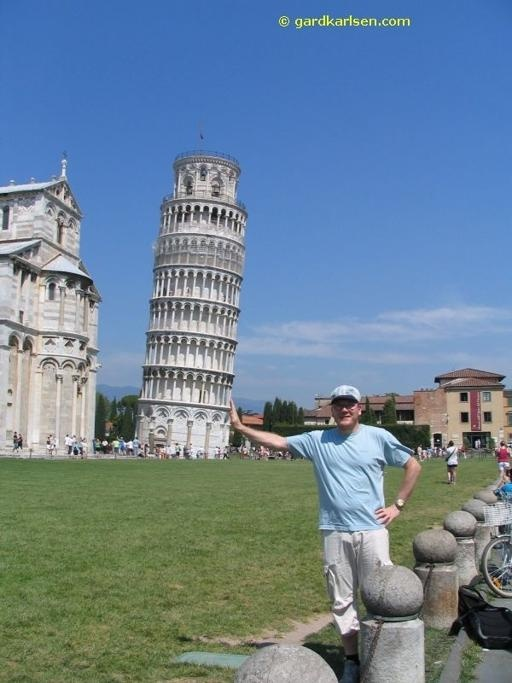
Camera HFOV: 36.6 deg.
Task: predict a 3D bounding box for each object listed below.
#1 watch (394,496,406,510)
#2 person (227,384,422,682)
[{"bbox_3d":[1.259,1.407,6.773,0.107,0.094,0.037,0,-7,-25],"label":"watch"},{"bbox_3d":[0.733,1.599,6.646,1.300,2.430,0.696,0,-4,10],"label":"person"}]
